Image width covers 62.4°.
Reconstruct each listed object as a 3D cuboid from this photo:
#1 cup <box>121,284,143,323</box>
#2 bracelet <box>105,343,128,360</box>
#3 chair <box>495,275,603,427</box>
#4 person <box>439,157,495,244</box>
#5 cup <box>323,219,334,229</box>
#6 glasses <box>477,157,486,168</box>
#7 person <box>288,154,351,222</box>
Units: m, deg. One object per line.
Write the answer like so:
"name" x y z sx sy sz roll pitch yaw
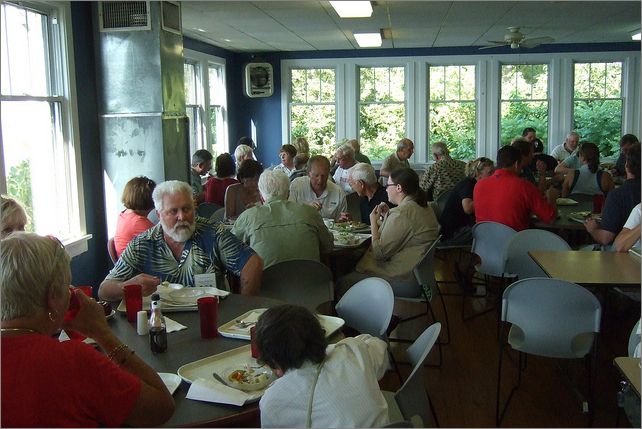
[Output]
"cup" -1.052 0.518 3.076 0.116 0.194 0.121 0 -8 0
"bracelet" -0.912 0.605 2.357 0.060 0.017 0.060 -47 17 -24
"chair" 1.612 0.985 3.714 0.678 1.200 0.765 3 27 18
"person" 1.715 0.017 5.890 0.676 1.282 0.511 -2 7 22
"cup" 0.070 0.081 5.126 0.073 0.072 0.099 0 2 6
"glasses" 1.889 -0.614 6.256 0.042 0.146 0.145 24 20 13
"person" -0.013 -0.292 5.821 0.658 1.201 0.631 -1 28 -1
